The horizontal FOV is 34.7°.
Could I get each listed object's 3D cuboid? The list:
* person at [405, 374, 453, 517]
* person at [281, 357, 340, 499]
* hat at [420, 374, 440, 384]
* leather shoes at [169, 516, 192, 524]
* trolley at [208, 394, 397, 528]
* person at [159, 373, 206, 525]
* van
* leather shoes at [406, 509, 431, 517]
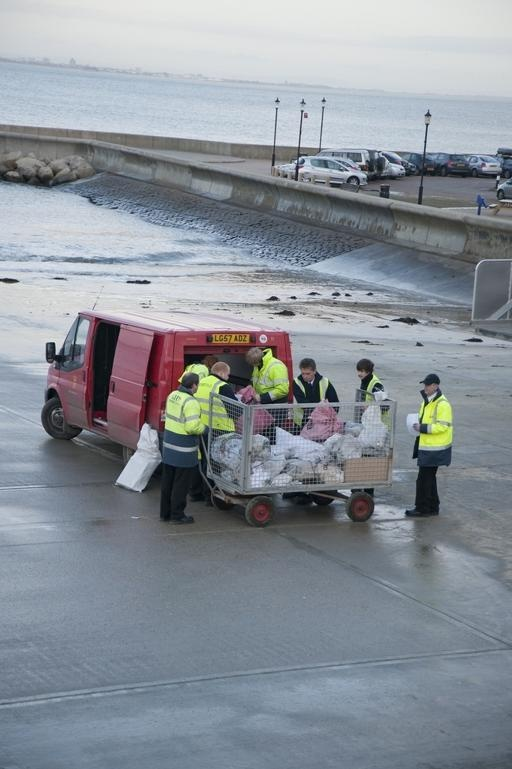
[{"bbox_3d":[1.968,0.711,9.291,0.459,1.667,0.383,4,7,-3],"label":"person"},{"bbox_3d":[0.715,0.462,9.884,0.642,1.535,0.522,2,14,24],"label":"person"},{"bbox_3d":[1.925,-0.052,9.078,0.144,0.114,0.154,5,6,18],"label":"hat"},{"bbox_3d":[-0.788,1.421,8.738,0.232,0.087,0.098,-5,14,-25],"label":"leather shoes"},{"bbox_3d":[0.459,0.813,9.210,1.843,1.016,1.060,1,10,-22],"label":"trolley"},{"bbox_3d":[-0.780,0.669,8.718,0.312,1.607,0.542,-2,9,-44],"label":"person"},{"bbox_3d":[-1.382,-0.103,11.146,2.048,1.401,3.102,-3,14,-35],"label":"van"},{"bbox_3d":[1.873,1.477,9.485,0.239,0.085,0.099,5,6,8],"label":"leather shoes"}]
